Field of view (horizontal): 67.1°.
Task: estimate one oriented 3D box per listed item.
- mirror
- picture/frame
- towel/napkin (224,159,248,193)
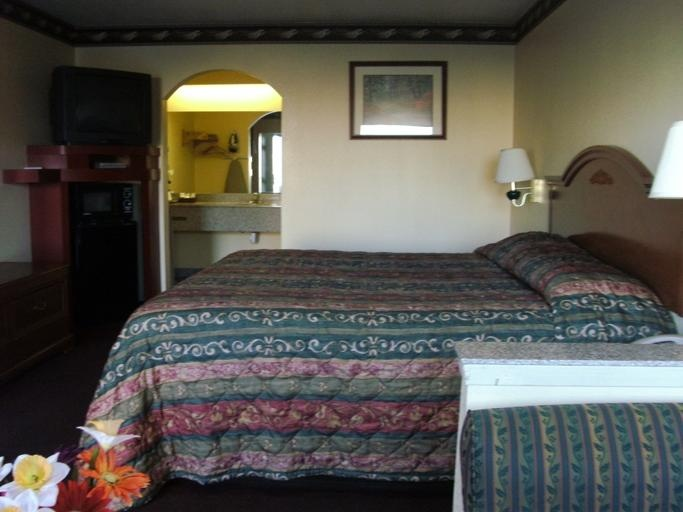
[{"bbox_3d":[-1.324,-1.425,5.885,1.702,1.363,0.810,2,8,6],"label":"mirror"},{"bbox_3d":[0.516,-1.399,4.491,0.825,0.544,0.067,0,11,2],"label":"picture/frame"},{"bbox_3d":[-1.265,-0.955,6.179,0.295,0.373,0.105,0,0,6],"label":"towel/napkin"}]
